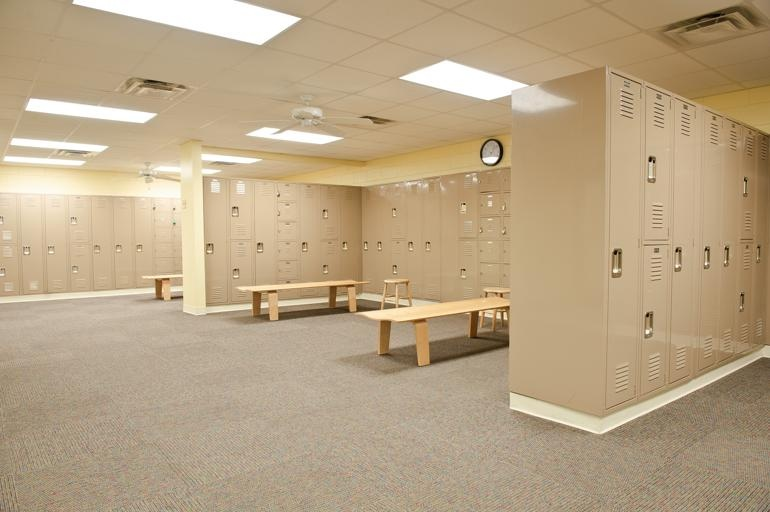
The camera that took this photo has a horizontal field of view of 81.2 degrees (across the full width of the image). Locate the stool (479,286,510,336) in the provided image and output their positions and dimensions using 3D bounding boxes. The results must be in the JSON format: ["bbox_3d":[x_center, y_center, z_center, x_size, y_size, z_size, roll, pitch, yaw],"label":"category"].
[{"bbox_3d":[2.060,0.936,8.281,0.699,0.894,0.802,0,-4,-1],"label":"stool"}]

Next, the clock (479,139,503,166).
[{"bbox_3d":[2.116,-2.042,8.902,0.216,0.549,0.470,-8,12,-33],"label":"clock"}]

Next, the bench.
[{"bbox_3d":[0.843,1.080,6.632,1.502,0.818,2.070,5,11,28],"label":"bench"}]
